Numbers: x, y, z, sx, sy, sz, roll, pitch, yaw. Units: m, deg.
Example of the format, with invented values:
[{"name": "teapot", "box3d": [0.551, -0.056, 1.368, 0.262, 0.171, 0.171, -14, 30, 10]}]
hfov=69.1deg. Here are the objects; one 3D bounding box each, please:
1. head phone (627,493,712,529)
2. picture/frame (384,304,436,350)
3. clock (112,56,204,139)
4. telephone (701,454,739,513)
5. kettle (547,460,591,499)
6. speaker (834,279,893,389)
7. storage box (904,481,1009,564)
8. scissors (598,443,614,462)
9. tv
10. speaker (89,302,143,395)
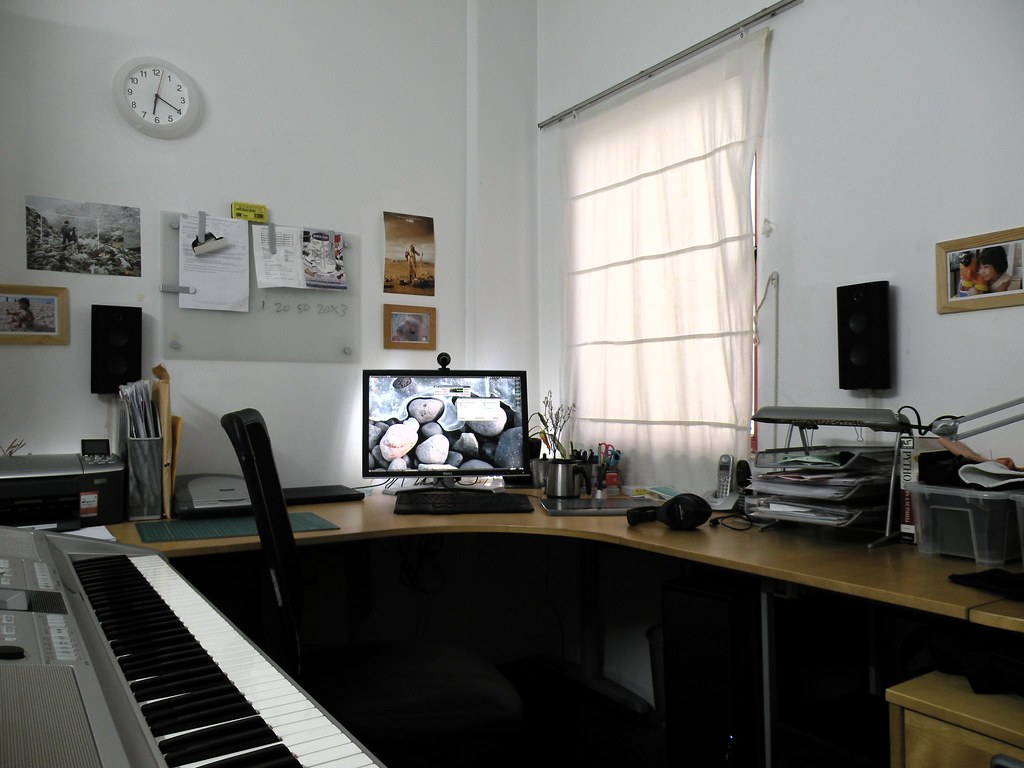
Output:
[{"name": "head phone", "box3d": [0.497, 0.421, 2.296, 0.178, 0.083, 0.129, -16, -15, 26]}, {"name": "picture/frame", "box3d": [-0.462, -0.251, 3.289, 0.197, 0.165, 0.007, 0, -3, -32]}, {"name": "clock", "box3d": [-1.347, -1.073, 2.796, 0.326, 0.343, 0.050, -3, -4, -38]}, {"name": "telephone", "box3d": [0.735, 0.338, 2.605, 0.113, 0.178, 0.136, 5, 4, 39]}, {"name": "kettle", "box3d": [0.209, 0.368, 2.870, 0.170, 0.123, 0.111, 2, 2, 45]}, {"name": "speaker", "box3d": [1.124, -0.154, 2.381, 0.149, 0.332, 0.059, 1, 1, 25]}, {"name": "storage box", "box3d": [1.161, 0.362, 1.925, 0.200, 0.129, 0.164, 5, -7, -36]}, {"name": "scissors", "box3d": [0.397, 0.292, 3.137, 0.068, 0.079, 0.054, 2, -8, 6]}, {"name": "tv", "box3d": [-0.260, 0.175, 2.914, 0.447, 0.337, 0.136, 1, -12, -6]}, {"name": "speaker", "box3d": [-1.427, -0.119, 2.686, 0.158, 0.321, 0.072, 0, 1, -27]}]
